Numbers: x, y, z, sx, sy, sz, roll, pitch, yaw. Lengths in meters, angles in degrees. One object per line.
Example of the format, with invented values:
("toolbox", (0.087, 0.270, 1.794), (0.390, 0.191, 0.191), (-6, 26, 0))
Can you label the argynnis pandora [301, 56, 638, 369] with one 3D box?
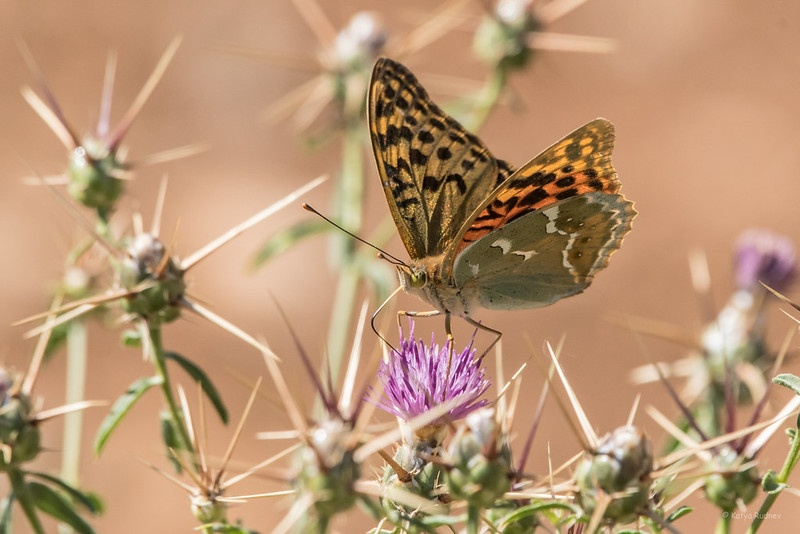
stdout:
("argynnis pandora", (0.568, -0.332, 5.519), (1.757, 0.867, 1.363), (11, -57, -15))

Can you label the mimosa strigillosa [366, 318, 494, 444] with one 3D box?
("mimosa strigillosa", (0.127, 0.783, 5.151), (0.770, 0.835, 0.788), (1, -91, 19))
